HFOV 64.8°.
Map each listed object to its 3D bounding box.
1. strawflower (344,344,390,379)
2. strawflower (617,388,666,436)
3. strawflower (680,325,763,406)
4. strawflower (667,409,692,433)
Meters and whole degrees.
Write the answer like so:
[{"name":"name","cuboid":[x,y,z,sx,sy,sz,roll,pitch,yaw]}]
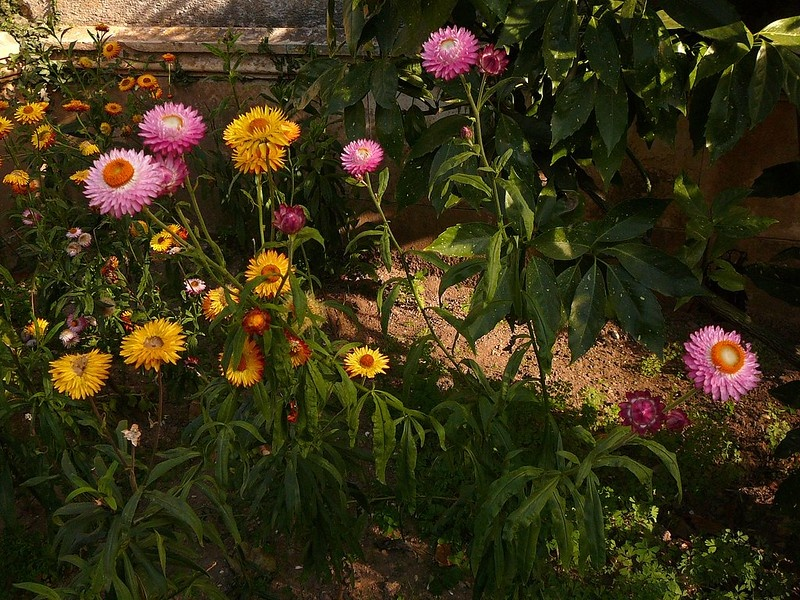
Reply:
[{"name":"strawflower","cuboid":[-0.135,0.246,2.470,0.163,0.129,0.217,3,-9,-4]},{"name":"strawflower","cuboid":[0.725,0.332,1.868,0.122,0.128,0.105,-1,-10,24]},{"name":"strawflower","cuboid":[0.908,0.174,1.762,0.231,0.208,0.107,6,-10,-17]},{"name":"strawflower","cuboid":[0.841,0.355,1.894,0.050,0.057,0.150,-3,-11,33]}]
